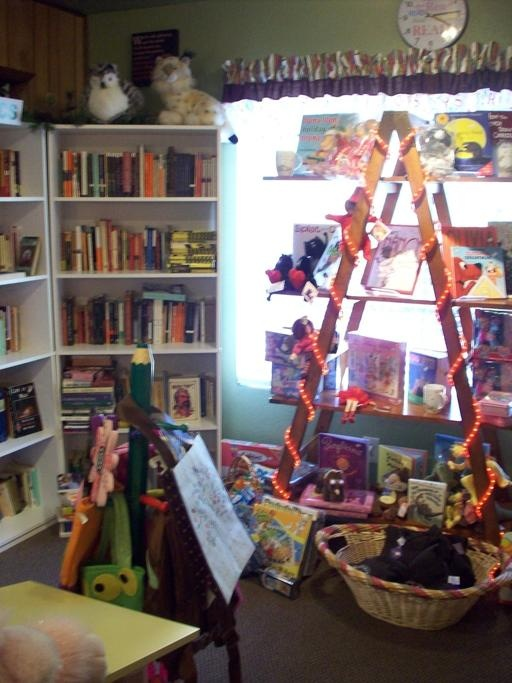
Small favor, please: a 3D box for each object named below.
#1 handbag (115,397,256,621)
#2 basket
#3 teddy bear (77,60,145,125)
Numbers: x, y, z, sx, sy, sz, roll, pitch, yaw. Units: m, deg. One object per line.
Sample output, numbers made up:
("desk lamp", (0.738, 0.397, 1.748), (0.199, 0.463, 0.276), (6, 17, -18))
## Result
("handbag", (-0.146, 0.313, 1.152), (0.271, 0.390, 0.302), (0, 6, 2))
("basket", (0.569, 0.894, 2.066), (0.677, 0.271, 0.562), (2, 7, 24))
("teddy bear", (-0.702, -1.208, 2.673), (0.337, 0.295, 0.201), (-1, 12, 11))
